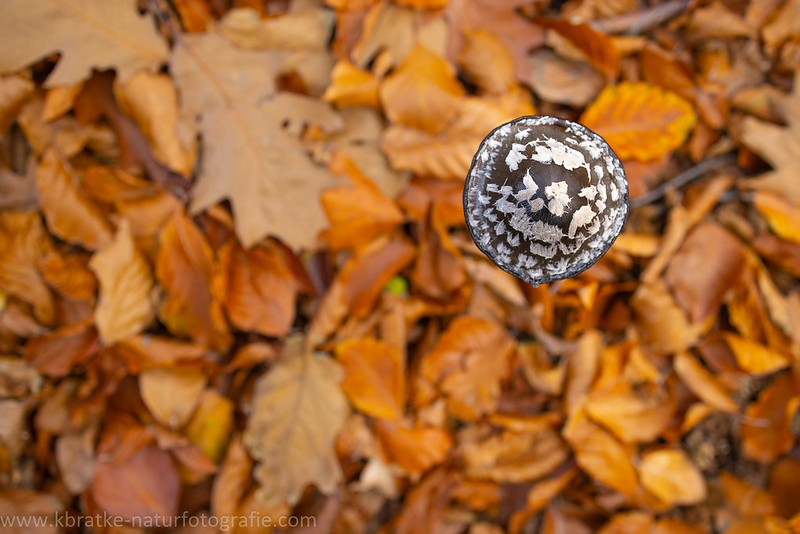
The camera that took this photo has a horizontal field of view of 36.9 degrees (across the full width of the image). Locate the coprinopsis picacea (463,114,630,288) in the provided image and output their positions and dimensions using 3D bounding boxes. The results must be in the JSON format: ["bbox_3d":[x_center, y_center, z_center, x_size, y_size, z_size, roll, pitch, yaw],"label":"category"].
[{"bbox_3d":[0.203,-0.093,1.676,0.225,0.126,0.222,26,82,10],"label":"coprinopsis picacea"}]
